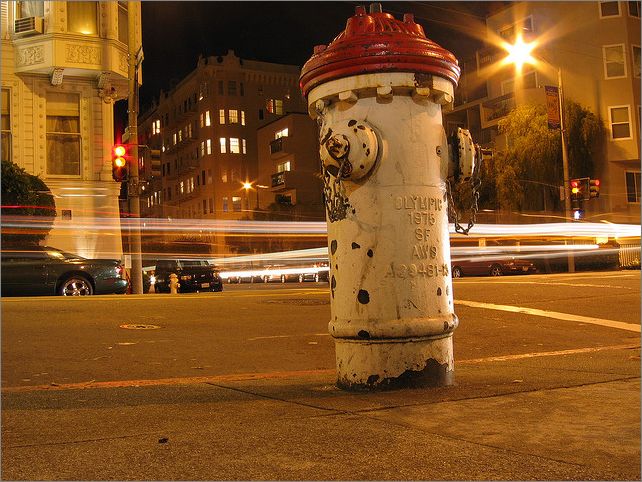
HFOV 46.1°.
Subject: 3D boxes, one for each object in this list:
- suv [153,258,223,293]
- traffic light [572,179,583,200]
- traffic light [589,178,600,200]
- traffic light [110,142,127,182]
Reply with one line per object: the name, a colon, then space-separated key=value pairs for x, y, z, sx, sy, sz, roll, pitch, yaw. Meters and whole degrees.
suv: x=-5.137 y=1.364 z=27.962 sx=1.261 sy=1.047 sz=2.137 roll=2 pitch=-8 yaw=-34
traffic light: x=11.387 y=-2.299 z=33.633 sx=0.424 sy=0.888 sz=1.098 roll=-2 pitch=-2 yaw=18
traffic light: x=11.813 y=-2.283 z=32.541 sx=0.391 sy=0.794 sz=1.055 roll=-1 pitch=-2 yaw=17
traffic light: x=-5.573 y=-2.206 z=20.895 sx=0.418 sy=0.964 sz=0.496 roll=0 pitch=-2 yaw=-15
